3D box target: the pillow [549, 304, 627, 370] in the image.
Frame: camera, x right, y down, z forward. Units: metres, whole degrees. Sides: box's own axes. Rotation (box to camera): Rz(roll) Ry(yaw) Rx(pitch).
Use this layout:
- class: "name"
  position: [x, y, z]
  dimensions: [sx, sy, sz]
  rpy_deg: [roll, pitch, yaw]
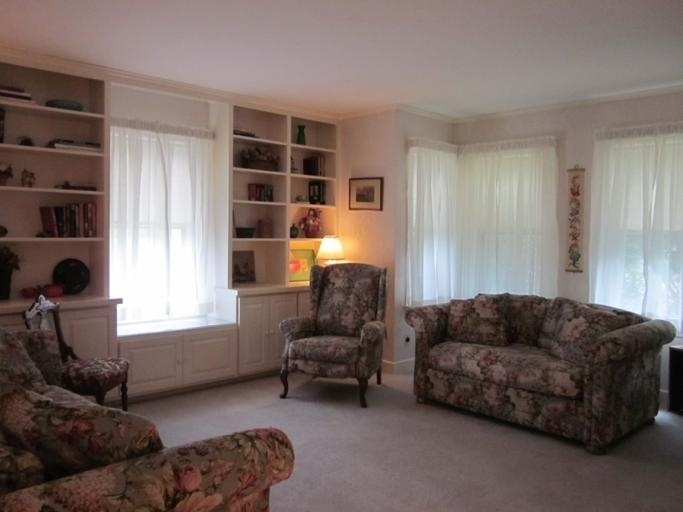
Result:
- class: "pillow"
  position: [2.060, 0.667, 4.151]
  dimensions: [0.236, 0.476, 0.481]
  rpy_deg: [21, -3, -25]

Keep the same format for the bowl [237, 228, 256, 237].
- class: "bowl"
  position: [-1.076, -0.259, 5.546]
  dimensions: [0.090, 0.105, 0.263]
  rpy_deg: [4, 7, 34]

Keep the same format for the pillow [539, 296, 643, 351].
- class: "pillow"
  position: [2.106, 0.572, 4.239]
  dimensions: [0.510, 0.356, 0.529]
  rpy_deg: [7, -7, -32]

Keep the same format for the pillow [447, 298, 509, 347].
- class: "pillow"
  position: [1.275, 0.611, 4.668]
  dimensions: [0.446, 0.470, 0.205]
  rpy_deg: [1, -17, 30]

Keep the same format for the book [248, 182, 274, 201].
- class: "book"
  position: [-0.929, -0.723, 5.657]
  dimensions: [0.286, 0.202, 0.194]
  rpy_deg: [-1, 6, -15]

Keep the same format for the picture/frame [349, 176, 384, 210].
- class: "picture/frame"
  position: [0.284, -0.726, 5.842]
  dimensions: [0.091, 0.388, 0.500]
  rpy_deg: [-4, 7, -43]

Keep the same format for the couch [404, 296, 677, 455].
- class: "couch"
  position: [1.702, 0.907, 4.391]
  dimensions: [1.912, 1.006, 0.931]
  rpy_deg: [5, 7, 38]

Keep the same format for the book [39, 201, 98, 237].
- class: "book"
  position: [-2.459, -0.302, 4.460]
  dimensions: [0.407, 0.412, 0.311]
  rpy_deg: [-1, -1, 32]

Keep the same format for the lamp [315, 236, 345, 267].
- class: "lamp"
  position: [-0.141, -0.062, 5.933]
  dimensions: [0.320, 0.331, 0.339]
  rpy_deg: [1, 5, 29]

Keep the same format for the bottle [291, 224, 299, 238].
- class: "bottle"
  position: [-0.568, -0.289, 5.960]
  dimensions: [0.128, 0.161, 0.130]
  rpy_deg: [-1, 4, 0]
